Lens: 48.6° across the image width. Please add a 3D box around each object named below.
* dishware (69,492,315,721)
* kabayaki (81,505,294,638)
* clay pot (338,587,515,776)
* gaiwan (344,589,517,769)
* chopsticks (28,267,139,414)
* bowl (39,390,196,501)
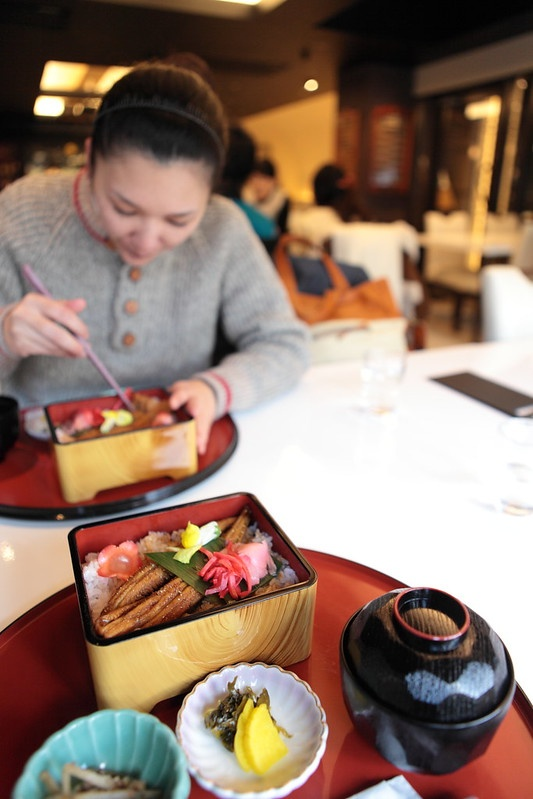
[{"bbox_3d":[-0.065,0.147,0.476,0.180,0.087,0.139,-10,29,-23],"label":"dishware"},{"bbox_3d":[-0.067,0.136,0.487,0.118,0.034,0.084,-8,18,-22],"label":"kabayaki"},{"bbox_3d":[0.092,0.172,0.412,0.110,0.099,0.116,-1,26,1],"label":"clay pot"},{"bbox_3d":[0.095,0.170,0.414,0.107,0.098,0.114,-1,25,1],"label":"gaiwan"},{"bbox_3d":[-0.306,-0.103,0.974,0.031,0.301,0.023,-30,11,42],"label":"chopsticks"},{"bbox_3d":[-0.194,0.056,0.777,0.175,0.092,0.176,0,20,0],"label":"bowl"}]
